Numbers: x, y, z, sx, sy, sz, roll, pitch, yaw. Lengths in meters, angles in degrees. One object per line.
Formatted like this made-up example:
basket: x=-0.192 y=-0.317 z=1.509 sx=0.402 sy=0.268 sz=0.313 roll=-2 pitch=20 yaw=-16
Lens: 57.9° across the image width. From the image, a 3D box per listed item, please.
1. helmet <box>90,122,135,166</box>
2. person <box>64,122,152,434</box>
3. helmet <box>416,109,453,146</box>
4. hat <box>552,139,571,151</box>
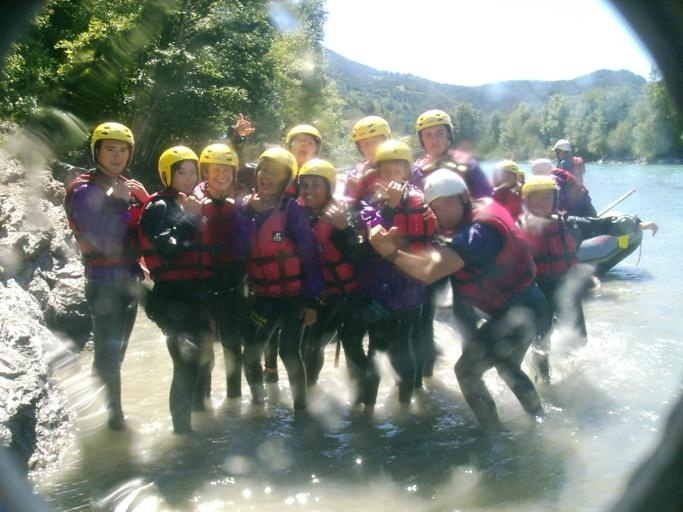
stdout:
helmet: x=-2.758 y=-1.404 z=7.573 sx=0.467 sy=0.559 sz=0.591 roll=6 pitch=1 yaw=-27
person: x=-2.789 y=0.281 z=7.459 sx=0.917 sy=3.744 sz=0.506 roll=-3 pitch=6 yaw=-26
helmet: x=1.354 y=-1.910 z=9.001 sx=0.488 sy=0.580 sz=0.649 roll=-10 pitch=5 yaw=13
hat: x=5.655 y=-2.816 z=15.827 sx=0.418 sy=0.240 sz=0.305 roll=9 pitch=12 yaw=20
